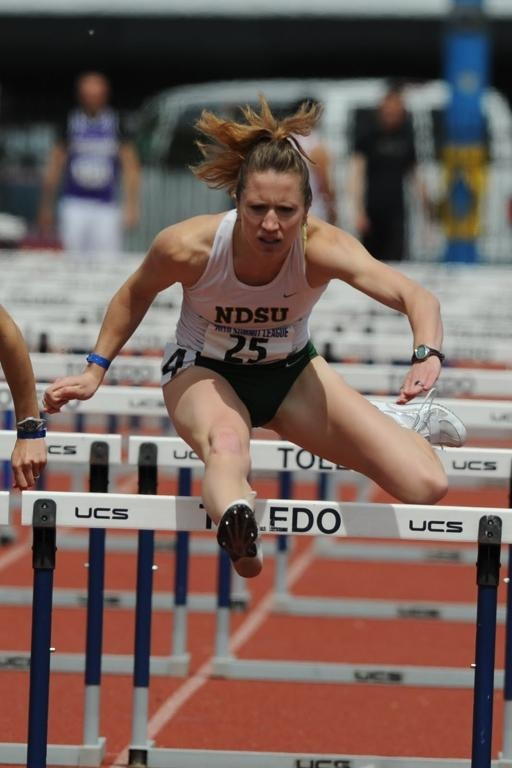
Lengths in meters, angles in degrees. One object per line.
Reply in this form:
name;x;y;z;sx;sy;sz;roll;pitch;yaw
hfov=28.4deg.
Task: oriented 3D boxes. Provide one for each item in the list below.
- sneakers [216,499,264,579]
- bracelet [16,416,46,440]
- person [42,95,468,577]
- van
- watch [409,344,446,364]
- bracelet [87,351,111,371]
sneakers;-0.024;0.344;2.230;0.107;0.168;0.057;3;27;26
bracelet;-0.590;0.113;2.665;0.058;0.040;0.068;-1;-1;-6
person;0.006;-0.197;2.662;0.972;1.065;0.777;1;7;17
van;0.775;-2.841;11.826;5.005;2.271;2.698;3;1;3
watch;0.431;-0.067;2.496;0.055;0.028;0.054;23;-23;-37
bracelet;-0.430;-0.067;2.747;0.057;0.029;0.047;18;16;-23
